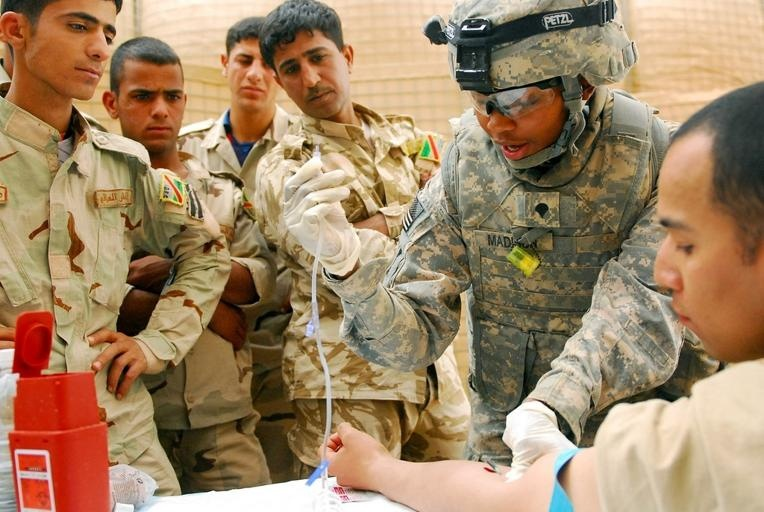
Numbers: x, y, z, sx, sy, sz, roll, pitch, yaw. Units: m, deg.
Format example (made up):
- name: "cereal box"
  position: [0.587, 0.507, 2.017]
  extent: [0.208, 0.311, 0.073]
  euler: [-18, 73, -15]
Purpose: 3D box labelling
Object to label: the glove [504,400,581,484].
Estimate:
- name: "glove"
  position: [0.488, 0.571, 2.384]
  extent: [0.209, 0.202, 0.257]
  euler: [-2, 3, 5]
